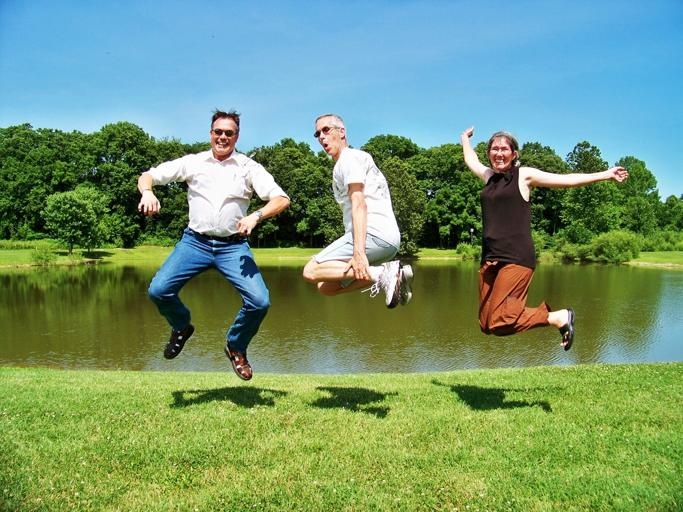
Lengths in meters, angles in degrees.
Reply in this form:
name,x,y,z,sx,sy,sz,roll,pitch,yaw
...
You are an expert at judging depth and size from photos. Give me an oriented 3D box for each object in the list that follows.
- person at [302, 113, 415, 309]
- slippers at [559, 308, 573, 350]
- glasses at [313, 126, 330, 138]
name,x,y,z,sx,sy,sz,roll,pitch,yaw
person,0.232,-0.525,6.364,1.261,2.240,0.845,1,0,-6
slippers,2.805,0.920,6.505,0.182,0.545,0.189,-3,0,-3
glasses,-0.273,-1.456,6.338,0.150,0.117,0.246,1,1,-36
